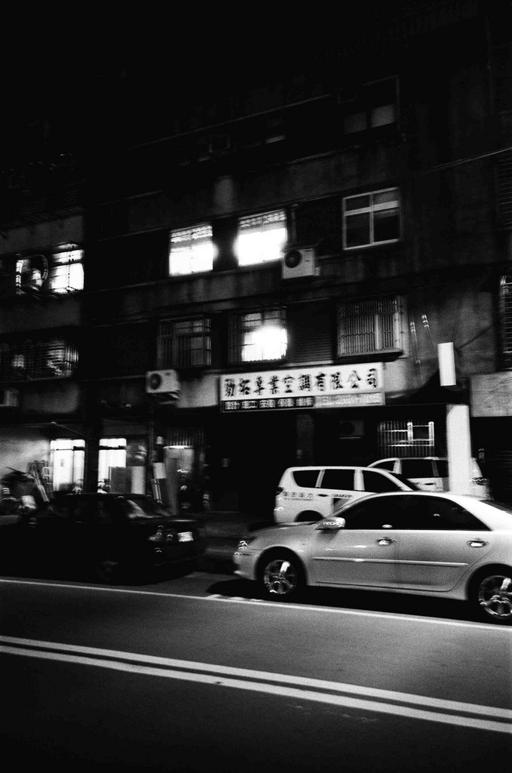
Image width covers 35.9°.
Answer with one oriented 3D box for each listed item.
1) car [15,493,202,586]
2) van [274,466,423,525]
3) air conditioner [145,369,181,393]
[{"bbox_3d":[-2.159,2.156,11.273,2.438,1.099,1.252,0,-11,26],"label":"car"},{"bbox_3d":[1.420,1.958,14.847,2.030,1.295,1.442,-8,-11,18],"label":"van"},{"bbox_3d":[-2.414,-0.096,20.277,0.961,0.634,0.403,-1,-2,29],"label":"air conditioner"}]
